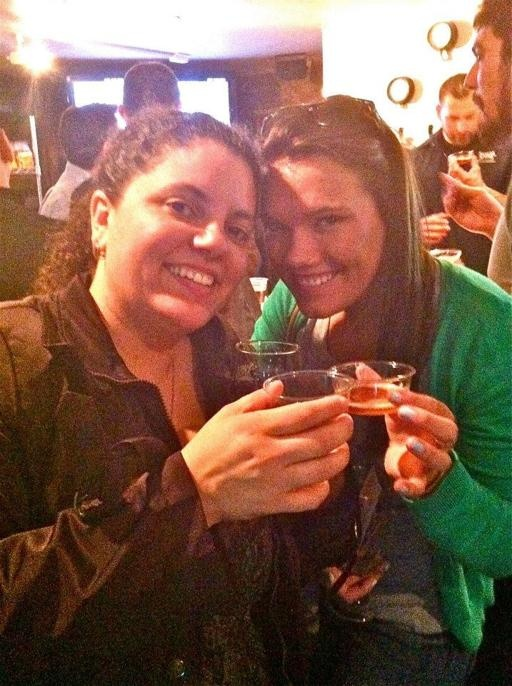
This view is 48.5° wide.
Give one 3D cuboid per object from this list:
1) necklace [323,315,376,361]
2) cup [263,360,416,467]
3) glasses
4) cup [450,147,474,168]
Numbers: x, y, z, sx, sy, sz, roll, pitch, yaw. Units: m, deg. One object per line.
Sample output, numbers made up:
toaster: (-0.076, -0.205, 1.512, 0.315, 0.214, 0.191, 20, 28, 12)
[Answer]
necklace: (0.157, -0.005, 0.983, 0.070, 0.086, 0.072, -9, 11, -23)
cup: (0.137, 0.077, 0.887, 0.172, 0.131, 0.149, -15, 17, -18)
glasses: (0.096, -0.334, 0.837, 0.187, 0.052, 0.019, -7, 19, -15)
cup: (0.333, -0.296, 0.925, 0.033, 0.028, 0.032, -2, 5, 0)
